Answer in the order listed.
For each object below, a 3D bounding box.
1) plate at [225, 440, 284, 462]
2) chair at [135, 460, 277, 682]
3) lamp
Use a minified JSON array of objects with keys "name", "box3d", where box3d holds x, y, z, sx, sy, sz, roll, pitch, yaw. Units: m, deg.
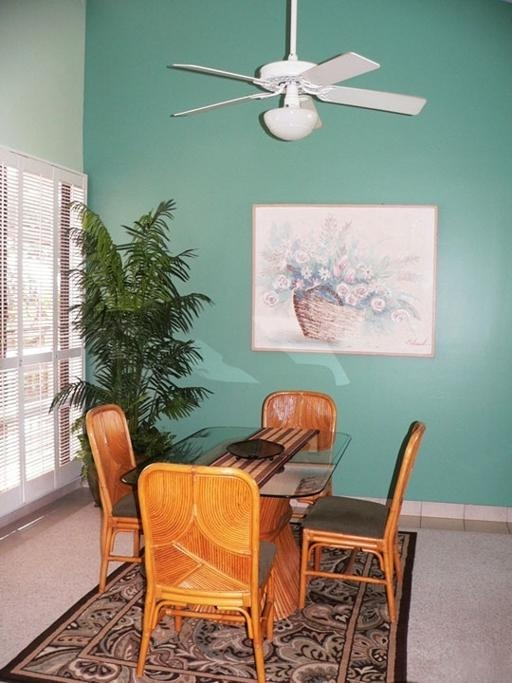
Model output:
[{"name":"plate","box3d":[-0.007,0.471,2.430,0.222,0.037,0.287,1,0,28]},{"name":"chair","box3d":[-0.178,0.776,1.866,0.464,0.823,0.502,1,1,2]},{"name":"lamp","box3d":[0.137,-0.870,2.109,0.208,0.276,0.227,0,-2,6]}]
